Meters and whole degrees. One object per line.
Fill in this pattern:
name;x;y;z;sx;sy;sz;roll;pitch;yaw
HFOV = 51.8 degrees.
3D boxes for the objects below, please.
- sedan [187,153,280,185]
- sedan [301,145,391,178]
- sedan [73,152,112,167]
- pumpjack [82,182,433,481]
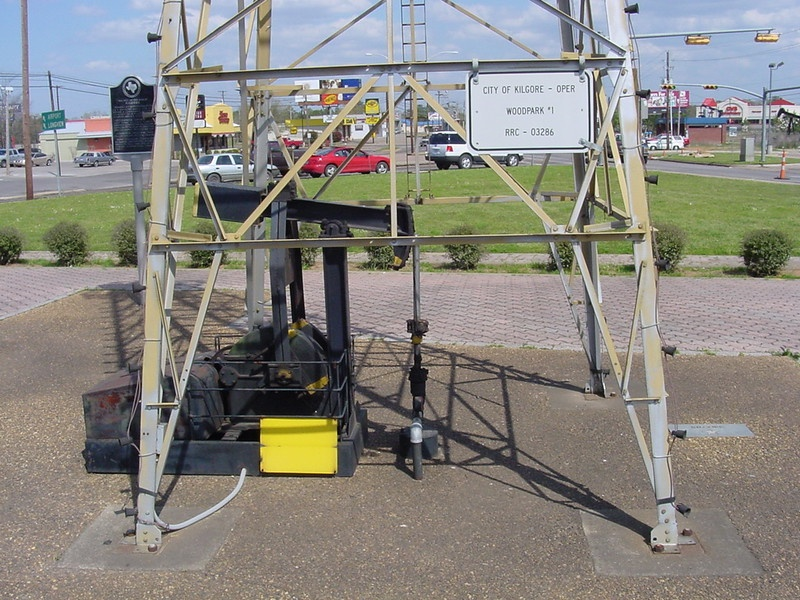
sedan;-8.746;-6.406;40.117;1.864;1.346;3.411;3;15;11
sedan;-2.908;-6.847;40.476;4.492;1.404;4.128;7;16;25
sedan;-23.327;-11.020;63.640;1.319;0.938;3.020;-1;7;0
pumpjack;-1.663;0.242;10.171;3.734;3.471;2.420;0;-2;-8
